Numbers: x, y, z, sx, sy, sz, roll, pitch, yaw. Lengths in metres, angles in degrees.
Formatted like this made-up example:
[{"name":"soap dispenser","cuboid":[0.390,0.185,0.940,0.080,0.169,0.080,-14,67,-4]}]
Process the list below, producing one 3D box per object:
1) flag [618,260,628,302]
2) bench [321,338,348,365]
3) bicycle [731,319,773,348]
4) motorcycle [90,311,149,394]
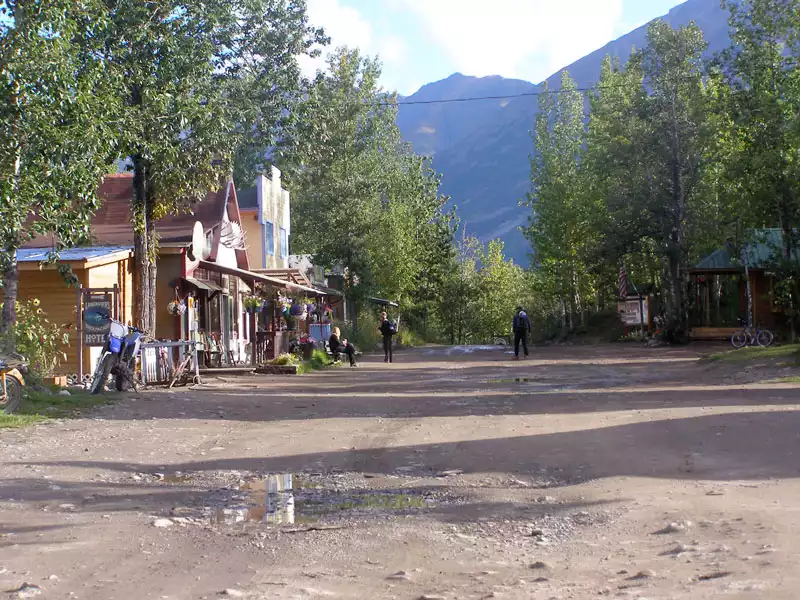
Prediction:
[{"name":"flag","cuboid":[12.767,-1.059,58.616,0.444,2.079,3.060,0,3,12]},{"name":"bench","cuboid":[-2.434,1.910,37.751,0.538,1.014,0.428,-14,25,-15]},{"name":"bicycle","cuboid":[14.629,1.366,42.329,1.781,1.260,0.955,1,-3,28]},{"name":"motorcycle","cuboid":[-6.121,1.203,21.815,0.578,1.532,1.196,2,4,43]}]
